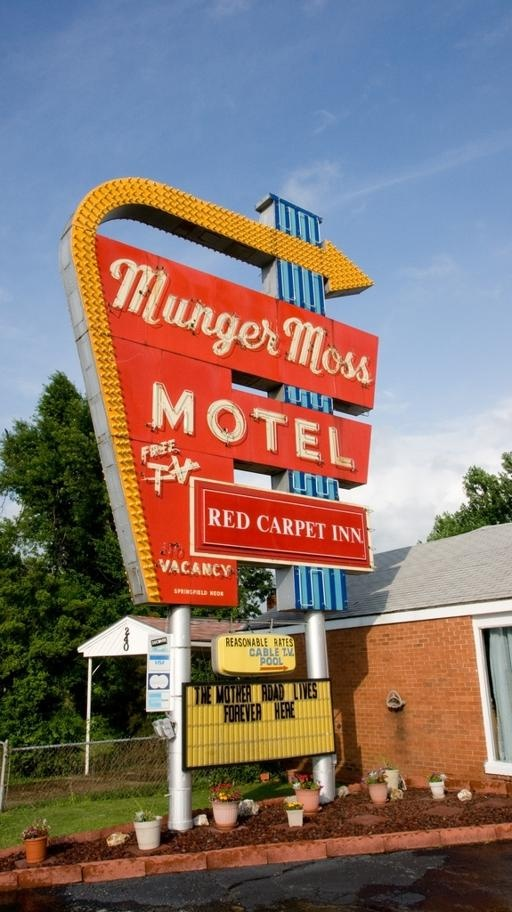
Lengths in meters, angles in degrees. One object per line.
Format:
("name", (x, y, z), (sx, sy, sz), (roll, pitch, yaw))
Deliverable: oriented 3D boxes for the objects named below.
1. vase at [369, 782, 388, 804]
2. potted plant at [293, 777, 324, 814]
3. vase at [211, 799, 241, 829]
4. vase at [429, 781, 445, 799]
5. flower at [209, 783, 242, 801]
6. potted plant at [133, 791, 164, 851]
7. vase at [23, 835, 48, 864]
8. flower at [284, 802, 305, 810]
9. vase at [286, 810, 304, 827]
("vase", (2.309, 6.343, 13.669), (0.396, 0.371, 0.411), (6, -26, -10))
("potted plant", (0.939, 6.261, 13.272), (0.458, 0.481, 0.678), (-4, -15, 0))
("vase", (-0.482, 5.916, 11.996), (0.418, 0.382, 0.435), (2, -32, -5))
("vase", (3.501, 6.336, 13.836), (0.322, 0.367, 0.334), (5, -23, -15))
("flower", (-0.533, 5.679, 12.264), (0.439, 0.208, 0.593), (-2, -16, -7))
("potted plant", (-1.603, 5.577, 10.813), (0.385, 0.482, 0.620), (-1, -16, -11))
("vase", (-3.108, 5.568, 10.280), (0.285, 0.323, 0.439), (1, -16, -18))
("flower", (0.633, 5.866, 12.147), (0.242, 0.109, 0.241), (-2, -15, -5))
("vase", (0.660, 6.009, 12.073), (0.268, 0.236, 0.244), (5, -25, -14))
